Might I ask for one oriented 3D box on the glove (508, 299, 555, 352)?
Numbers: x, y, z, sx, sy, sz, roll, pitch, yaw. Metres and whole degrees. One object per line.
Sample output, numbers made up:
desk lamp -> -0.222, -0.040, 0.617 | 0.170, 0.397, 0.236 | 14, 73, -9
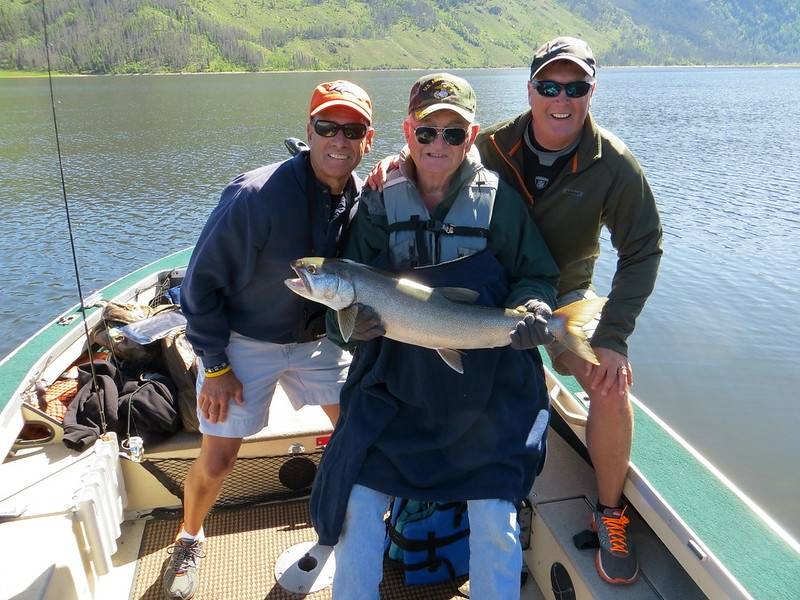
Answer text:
glove -> 0.877, 0.201, 3.655 | 0.259, 0.328, 0.341 | 9, 27, 12

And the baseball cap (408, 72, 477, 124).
baseball cap -> 0.303, -1.403, 3.816 | 0.470, 0.303, 0.402 | 3, 26, 0

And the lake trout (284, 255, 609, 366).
lake trout -> 0.228, 0.090, 3.658 | 2.010, 0.621, 0.499 | 13, 30, 17

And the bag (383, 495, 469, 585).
bag -> 0.274, 1.896, 4.616 | 0.695, 0.698, 0.497 | -5, 13, -17

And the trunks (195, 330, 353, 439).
trunks -> -1.020, 0.655, 4.489 | 0.944, 0.849, 0.357 | -5, 35, -27

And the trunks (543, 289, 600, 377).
trunks -> 1.231, 0.227, 3.966 | 0.322, 0.156, 0.656 | 21, 70, 15

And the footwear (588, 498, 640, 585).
footwear -> 1.591, 1.721, 4.070 | 0.314, 0.325, 0.726 | 2, 25, 12
